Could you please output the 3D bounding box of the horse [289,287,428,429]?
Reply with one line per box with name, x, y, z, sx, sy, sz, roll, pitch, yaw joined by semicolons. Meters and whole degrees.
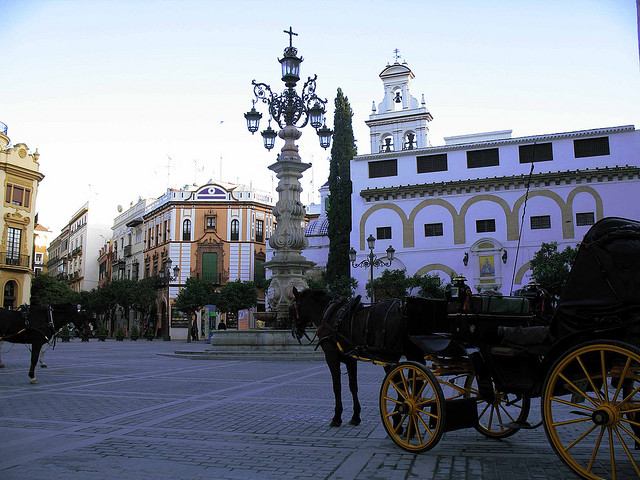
horse;0.590;1.803;10.425;0.809;2.179;3.099;2;-7;-27
